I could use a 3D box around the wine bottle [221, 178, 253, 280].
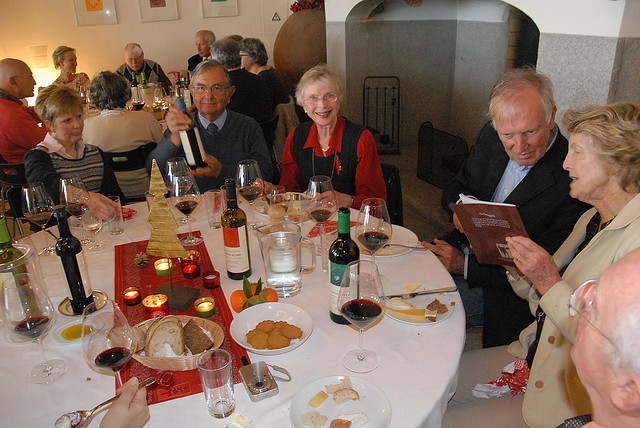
[{"bbox_3d":[-0.367,0.075,1.796,0.115,0.465,0.166,-8,23,-12],"label":"wine bottle"}]

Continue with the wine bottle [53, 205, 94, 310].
[{"bbox_3d":[-0.976,0.179,1.643,0.090,0.447,0.075,-18,27,-33],"label":"wine bottle"}]

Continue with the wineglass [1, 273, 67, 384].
[{"bbox_3d":[-1.023,0.391,1.491,0.141,0.344,0.276,-20,28,-36],"label":"wineglass"}]

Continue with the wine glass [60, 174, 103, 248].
[{"bbox_3d":[-1.310,-0.014,2.265,0.146,0.377,0.148,-5,19,-8],"label":"wine glass"}]

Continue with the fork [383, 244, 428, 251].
[{"bbox_3d":[0.407,0.168,2.051,0.186,0.027,0.016,6,19,-2],"label":"fork"}]

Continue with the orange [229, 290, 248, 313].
[{"bbox_3d":[-0.326,0.350,1.674,0.078,0.081,0.091,2,53,-4],"label":"orange"}]

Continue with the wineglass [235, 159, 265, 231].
[{"bbox_3d":[-0.384,-0.099,2.303,0.150,0.372,0.162,-2,21,6],"label":"wineglass"}]

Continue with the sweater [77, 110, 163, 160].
[{"bbox_3d":[-1.762,-0.729,3.679,0.768,0.300,0.390,-8,37,-7],"label":"sweater"}]

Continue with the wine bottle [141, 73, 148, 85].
[{"bbox_3d":[-2.259,-1.725,5.376,0.042,0.129,0.358,-11,23,-19],"label":"wine bottle"}]

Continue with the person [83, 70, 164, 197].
[{"bbox_3d":[-1.862,-0.719,3.717,0.751,1.009,0.535,-7,28,-29],"label":"person"}]

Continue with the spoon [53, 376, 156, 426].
[{"bbox_3d":[-0.687,0.607,1.342,0.046,0.033,0.232,25,45,36],"label":"spoon"}]

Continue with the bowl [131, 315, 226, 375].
[{"bbox_3d":[-0.463,0.465,1.482,0.080,0.242,0.246,-19,5,30],"label":"bowl"}]

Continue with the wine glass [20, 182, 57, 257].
[{"bbox_3d":[-1.484,0.040,2.240,0.152,0.365,0.153,-4,15,16],"label":"wine glass"}]

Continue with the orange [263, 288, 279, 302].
[{"bbox_3d":[-0.199,0.333,1.701,0.049,0.049,0.049,-6,4,2],"label":"orange"}]

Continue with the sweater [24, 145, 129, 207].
[{"bbox_3d":[-1.581,-0.246,2.698,0.499,0.548,0.365,-16,14,-43],"label":"sweater"}]

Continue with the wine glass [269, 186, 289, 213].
[{"bbox_3d":[-0.223,-0.077,2.341,0.134,0.181,0.136,0,9,-3],"label":"wine glass"}]

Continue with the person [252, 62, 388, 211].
[{"bbox_3d":[-0.021,-0.441,2.866,0.891,1.098,0.782,4,17,19],"label":"person"}]

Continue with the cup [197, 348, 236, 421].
[{"bbox_3d":[-0.330,0.550,1.358,0.104,0.178,0.142,-10,23,-17],"label":"cup"}]

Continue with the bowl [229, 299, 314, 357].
[{"bbox_3d":[-0.182,0.423,1.572,0.305,0.086,0.226,-1,21,4],"label":"bowl"}]

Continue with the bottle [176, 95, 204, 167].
[{"bbox_3d":[-0.744,-0.459,2.413,0.103,0.423,0.252,-10,23,-16],"label":"bottle"}]

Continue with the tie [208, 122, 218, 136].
[{"bbox_3d":[-0.793,-0.621,3.101,0.064,0.086,0.021,0,7,-3],"label":"tie"}]
